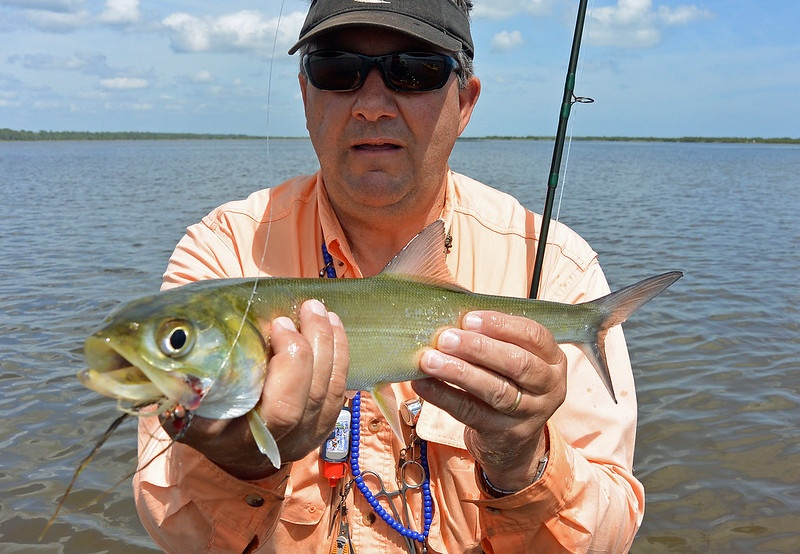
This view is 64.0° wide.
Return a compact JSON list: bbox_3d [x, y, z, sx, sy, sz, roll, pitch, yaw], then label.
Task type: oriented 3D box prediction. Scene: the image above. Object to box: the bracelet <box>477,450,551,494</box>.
[{"bbox_3d":[0.732,1.375,4.308,0.294,0.383,0.141,-13,12,-10],"label":"bracelet"}]
